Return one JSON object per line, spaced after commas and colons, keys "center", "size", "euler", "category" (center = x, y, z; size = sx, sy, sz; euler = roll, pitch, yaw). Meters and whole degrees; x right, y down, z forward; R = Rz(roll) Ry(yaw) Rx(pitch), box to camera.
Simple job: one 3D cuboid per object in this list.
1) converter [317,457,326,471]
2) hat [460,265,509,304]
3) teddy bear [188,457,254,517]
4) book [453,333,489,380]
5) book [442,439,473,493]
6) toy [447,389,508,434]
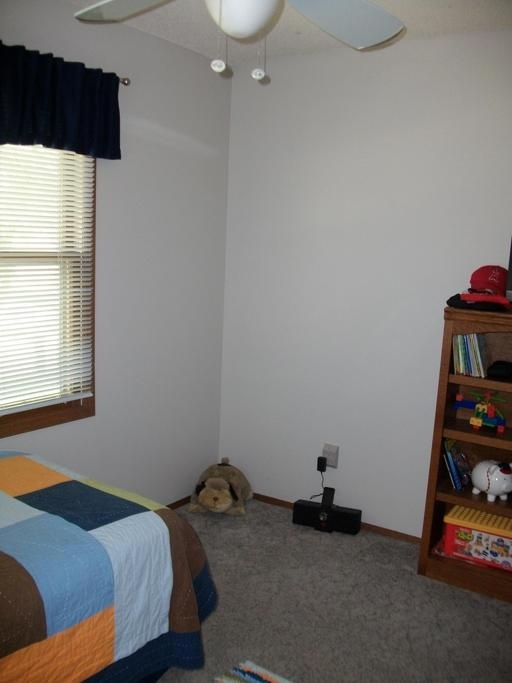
{"center": [0.381, 0.723, 3.169], "size": [0.049, 0.103, 0.048], "euler": [5, 6, 27], "category": "converter"}
{"center": [1.007, -0.249, 2.406], "size": [0.192, 0.172, 0.192], "euler": [4, 6, 22], "category": "hat"}
{"center": [-0.196, 0.872, 3.359], "size": [0.368, 0.323, 0.447], "euler": [-1, -3, 23], "category": "teddy bear"}
{"center": [0.956, 0.060, 2.453], "size": [0.150, 0.195, 0.068], "euler": [4, 6, 23], "category": "book"}
{"center": [0.959, 0.607, 2.617], "size": [0.035, 0.244, 0.229], "euler": [-16, -18, 35], "category": "book"}
{"center": [1.073, 0.338, 2.650], "size": [0.146, 0.111, 0.255], "euler": [-9, 12, -42], "category": "toy"}
